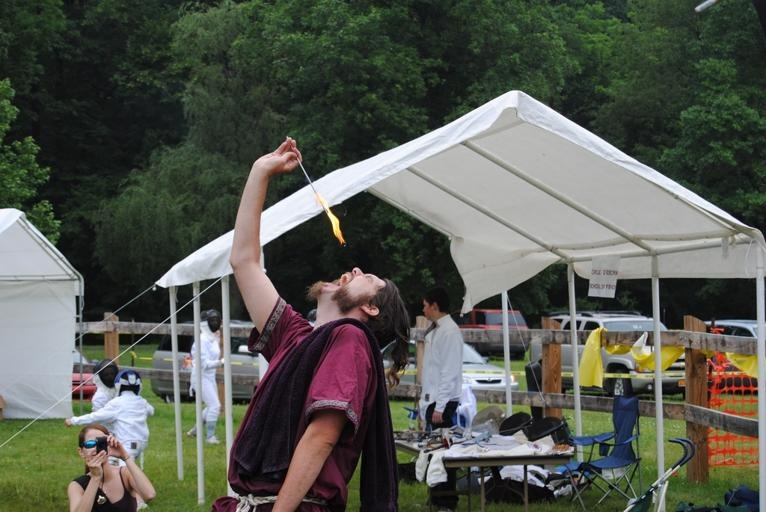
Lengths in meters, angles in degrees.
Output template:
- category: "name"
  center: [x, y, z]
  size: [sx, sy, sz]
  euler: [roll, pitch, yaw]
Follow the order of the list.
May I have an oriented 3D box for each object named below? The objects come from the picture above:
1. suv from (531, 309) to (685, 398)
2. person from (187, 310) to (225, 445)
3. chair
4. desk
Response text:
- category: "suv"
  center: [7.896, 3.275, 47.186]
  size: [2.661, 2.631, 5.304]
  euler: [3, -6, -39]
- category: "person"
  center: [-5.423, 3.686, 42.382]
  size: [1.255, 3.890, 1.167]
  euler: [-3, 6, -9]
- category: "chair"
  center: [6.279, 5.648, 39.378]
  size: [2.271, 3.277, 2.031]
  euler: [7, -10, -43]
- category: "desk"
  center: [2.890, 6.124, 38.287]
  size: [4.569, 1.978, 1.459]
  euler: [1, -2, 2]
